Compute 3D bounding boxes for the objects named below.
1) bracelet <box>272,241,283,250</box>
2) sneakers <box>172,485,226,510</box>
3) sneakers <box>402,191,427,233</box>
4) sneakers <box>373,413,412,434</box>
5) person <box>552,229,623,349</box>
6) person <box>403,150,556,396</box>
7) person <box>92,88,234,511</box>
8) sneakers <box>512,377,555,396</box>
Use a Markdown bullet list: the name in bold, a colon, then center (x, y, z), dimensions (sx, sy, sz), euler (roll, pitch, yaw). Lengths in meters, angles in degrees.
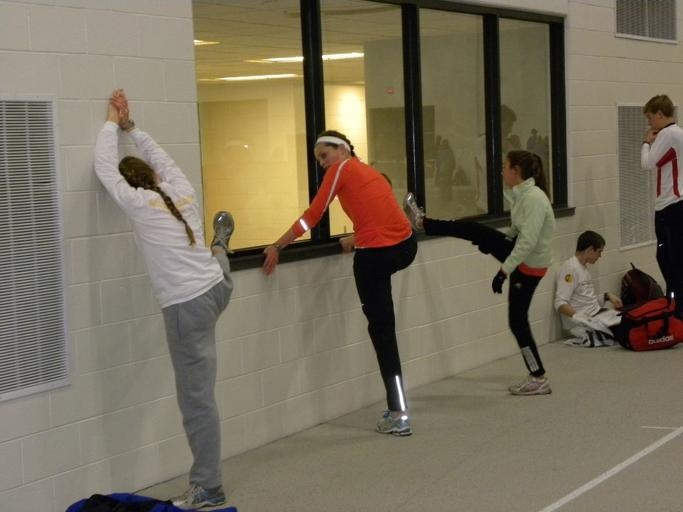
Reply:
- **bracelet**: center (-0.413, -0.066, 3.595), dimensions (0.052, 0.042, 0.060), euler (0, 2, 5)
- **sneakers**: center (-0.769, 1.296, 2.940), dimensions (0.292, 0.150, 0.115), euler (3, 0, -18)
- **sneakers**: center (0.621, -0.367, 4.431), dimensions (0.150, 0.388, 0.124), euler (0, 14, 24)
- **sneakers**: center (0.369, 1.192, 3.821), dimensions (0.258, 0.141, 0.120), euler (9, 12, 32)
- **person**: center (2.620, 0.324, 5.825), dimensions (0.624, 1.188, 0.790), euler (-1, 5, 12)
- **person**: center (1.249, 0.154, 4.383), dimensions (0.929, 1.991, 0.491), euler (0, 4, 25)
- **person**: center (-0.931, 0.226, 2.962), dimensions (0.644, 2.323, 0.422), euler (-3, 4, -7)
- **sneakers**: center (1.571, 1.080, 4.404), dimensions (0.327, 0.172, 0.145), euler (-1, 3, -4)
